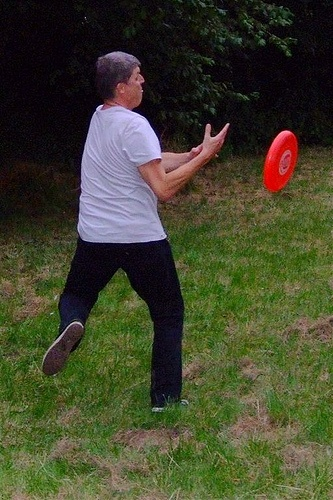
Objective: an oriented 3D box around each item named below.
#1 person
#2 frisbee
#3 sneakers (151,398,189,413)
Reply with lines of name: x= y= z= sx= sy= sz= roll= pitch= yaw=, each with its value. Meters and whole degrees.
person: x=-0.152 y=-0.063 z=2.488 sx=0.718 sy=1.752 sz=0.372 roll=7 pitch=11 yaw=3
frisbee: x=0.925 y=-0.712 z=4.049 sx=0.086 sy=0.505 sz=0.555 roll=19 pitch=25 yaw=31
sneakers: x=0.011 y=0.791 z=2.567 sx=0.167 sy=0.063 sz=0.053 roll=-12 pitch=6 yaw=-11
